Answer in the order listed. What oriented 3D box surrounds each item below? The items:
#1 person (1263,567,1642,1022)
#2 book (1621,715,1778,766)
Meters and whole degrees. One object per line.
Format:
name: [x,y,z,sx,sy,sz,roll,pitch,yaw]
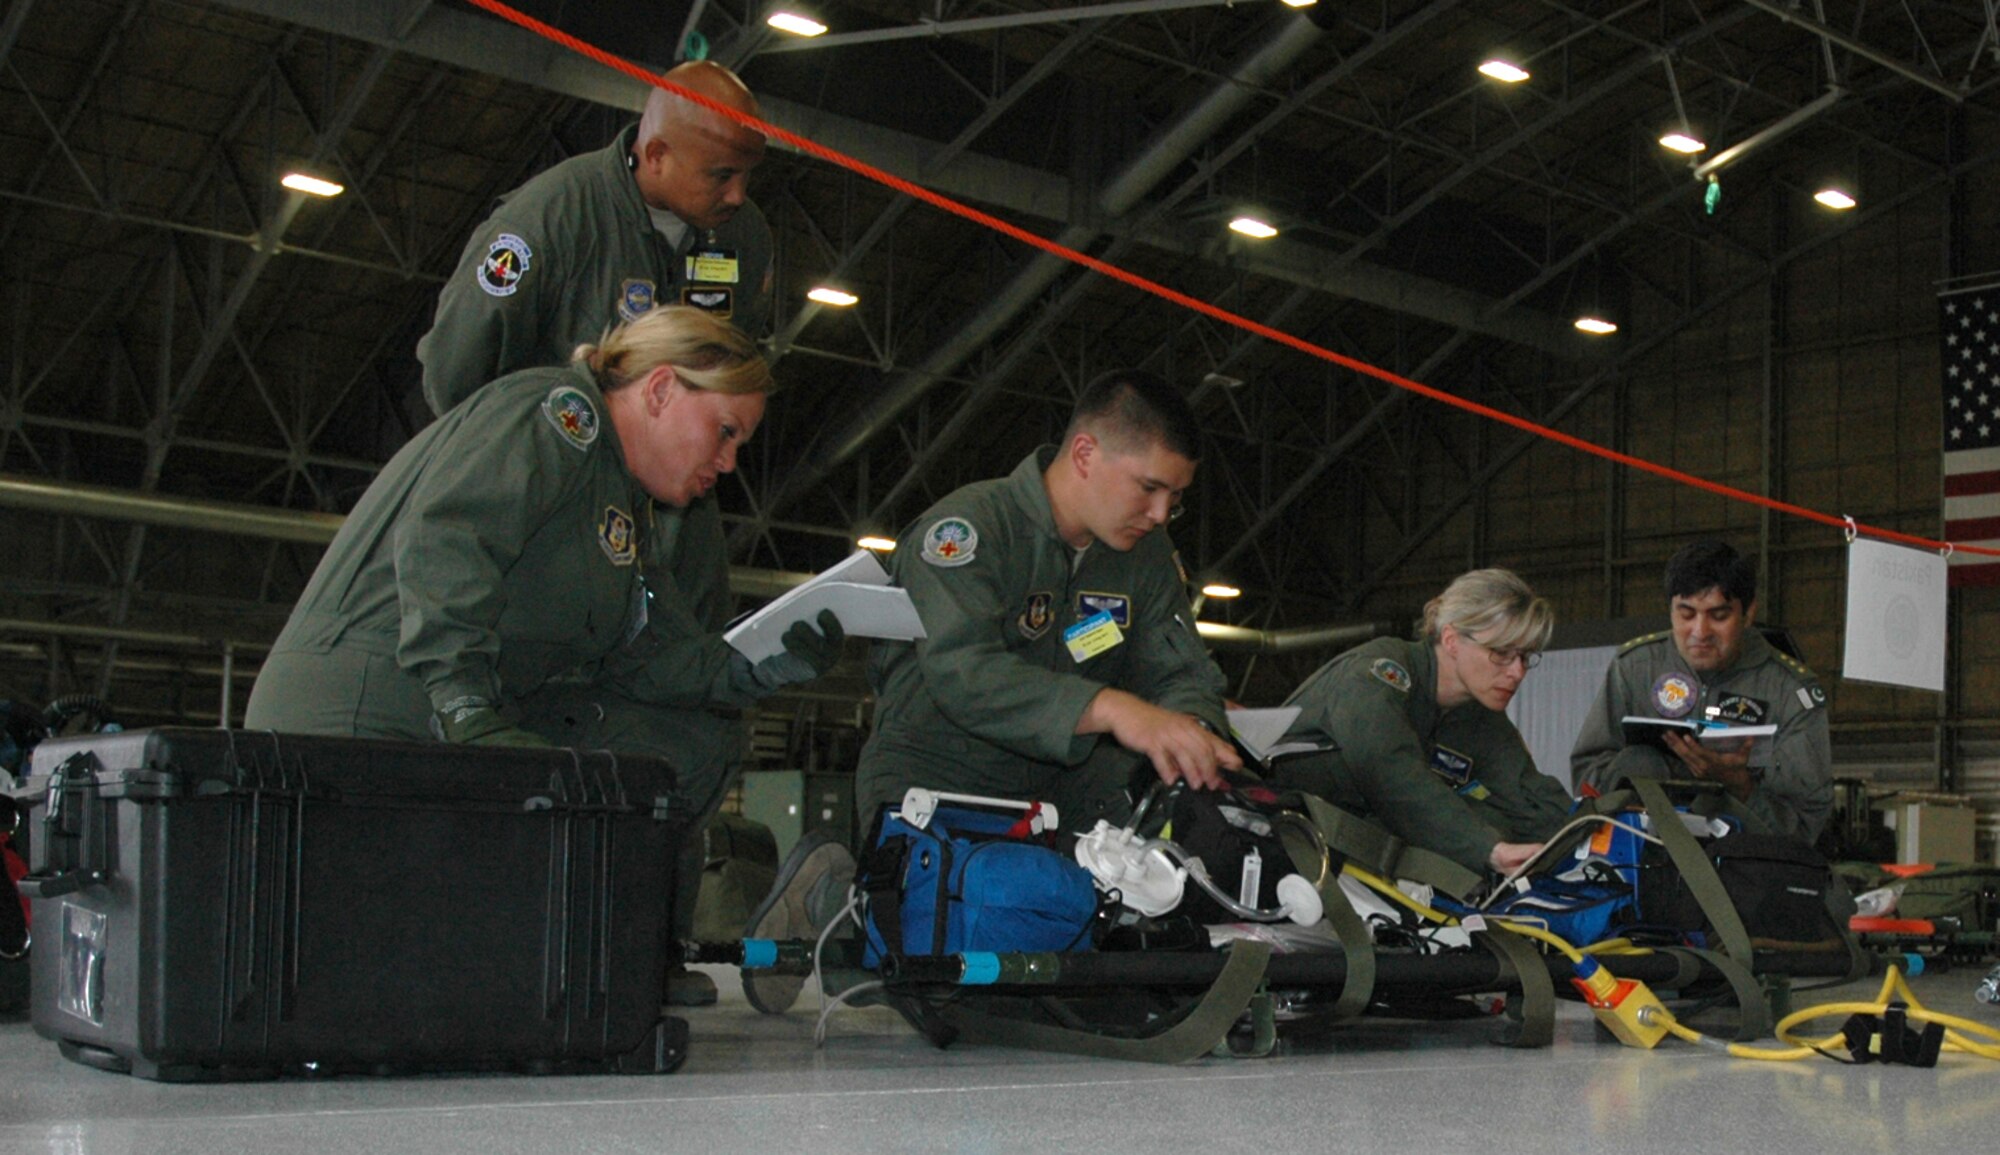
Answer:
person: [2.117,0.721,9.168,1.105,1.422,1.929,2,5,-38]
book: [3.332,0.769,9.124,0.653,0.179,0.357,-2,-12,17]
